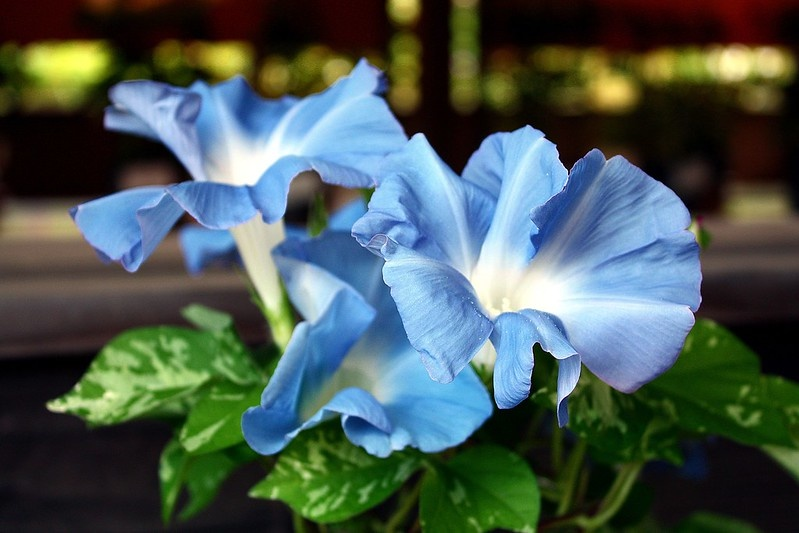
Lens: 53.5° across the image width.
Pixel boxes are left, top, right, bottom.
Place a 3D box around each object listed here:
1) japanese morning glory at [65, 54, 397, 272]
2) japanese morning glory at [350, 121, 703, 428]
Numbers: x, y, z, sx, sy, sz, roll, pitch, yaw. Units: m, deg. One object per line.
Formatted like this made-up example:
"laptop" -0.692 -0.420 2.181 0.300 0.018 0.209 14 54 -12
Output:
"japanese morning glory" -0.163 -0.070 0.728 0.266 0.107 0.290 -7 2 39
"japanese morning glory" 0.102 -0.006 0.654 0.274 0.206 0.126 -8 21 -4
